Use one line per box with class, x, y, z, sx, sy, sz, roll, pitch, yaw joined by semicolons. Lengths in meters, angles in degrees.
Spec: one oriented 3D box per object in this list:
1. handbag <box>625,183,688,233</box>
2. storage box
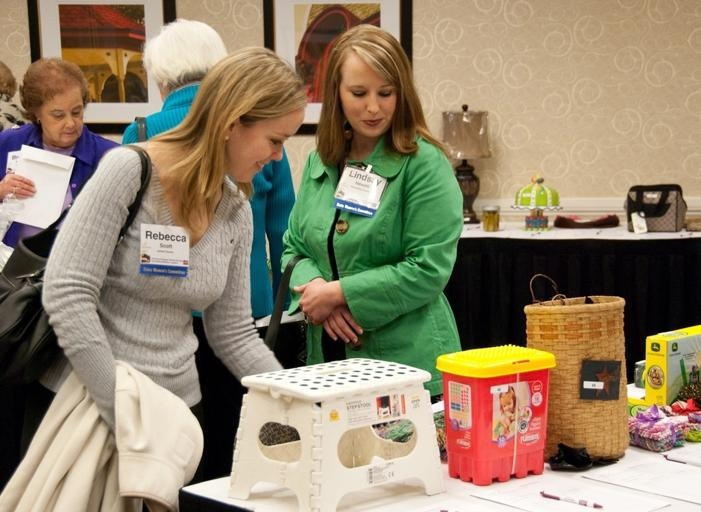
handbag;1.929;-0.312;4.003;0.373;0.390;0.292;3;8;34
storage box;0.359;0.325;1.614;0.344;0.410;0.256;-1;0;-31
